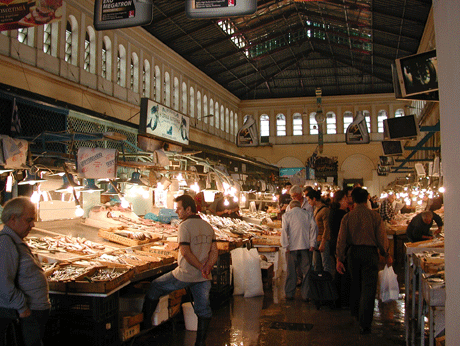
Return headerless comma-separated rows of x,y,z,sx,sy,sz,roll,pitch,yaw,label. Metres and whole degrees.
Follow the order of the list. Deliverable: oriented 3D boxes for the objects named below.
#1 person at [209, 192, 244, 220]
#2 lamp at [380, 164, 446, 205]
-0.105,0.941,11.797,0.701,0.872,0.793,5,7,-24,person
8.563,0.549,19.716,3.194,1.466,2.461,-3,4,-9,lamp
